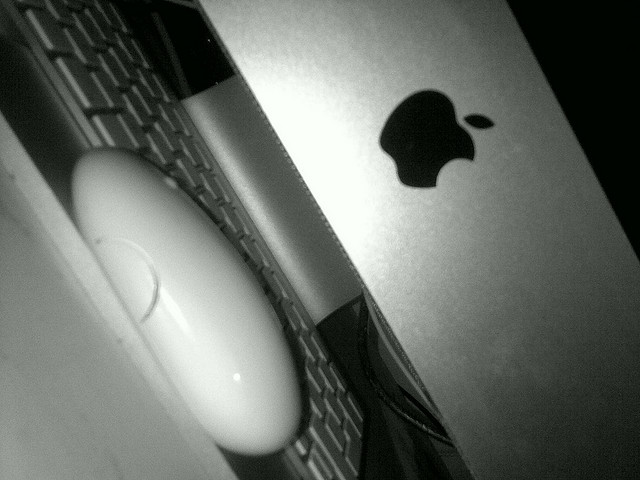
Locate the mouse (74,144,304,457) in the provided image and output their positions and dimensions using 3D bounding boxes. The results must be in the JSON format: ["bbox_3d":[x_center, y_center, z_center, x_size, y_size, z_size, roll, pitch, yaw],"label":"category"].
[{"bbox_3d":[-0.121,0.059,0.613,0.108,0.175,0.320,-34,-62,17],"label":"mouse"}]
